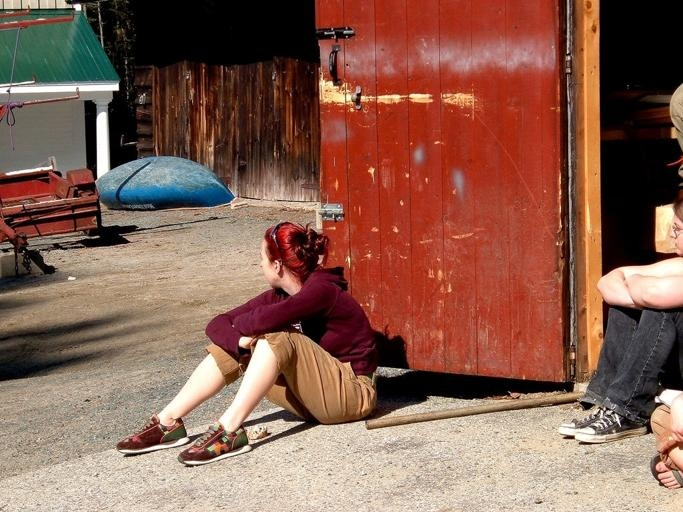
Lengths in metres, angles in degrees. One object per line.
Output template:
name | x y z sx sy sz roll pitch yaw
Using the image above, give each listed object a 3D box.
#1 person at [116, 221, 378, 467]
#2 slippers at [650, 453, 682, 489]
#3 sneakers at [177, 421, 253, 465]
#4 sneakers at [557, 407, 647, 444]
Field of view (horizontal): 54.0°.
person | -0.471 0.475 4.072 1.531 1.314 0.637 2 -7 -40
slippers | 1.625 1.044 3.346 0.183 0.108 0.059 48 34 15
sneakers | -0.714 1.086 3.925 0.466 0.219 0.166 -6 7 -30
sneakers | 1.496 0.944 3.838 0.453 0.192 0.202 0 0 -4
